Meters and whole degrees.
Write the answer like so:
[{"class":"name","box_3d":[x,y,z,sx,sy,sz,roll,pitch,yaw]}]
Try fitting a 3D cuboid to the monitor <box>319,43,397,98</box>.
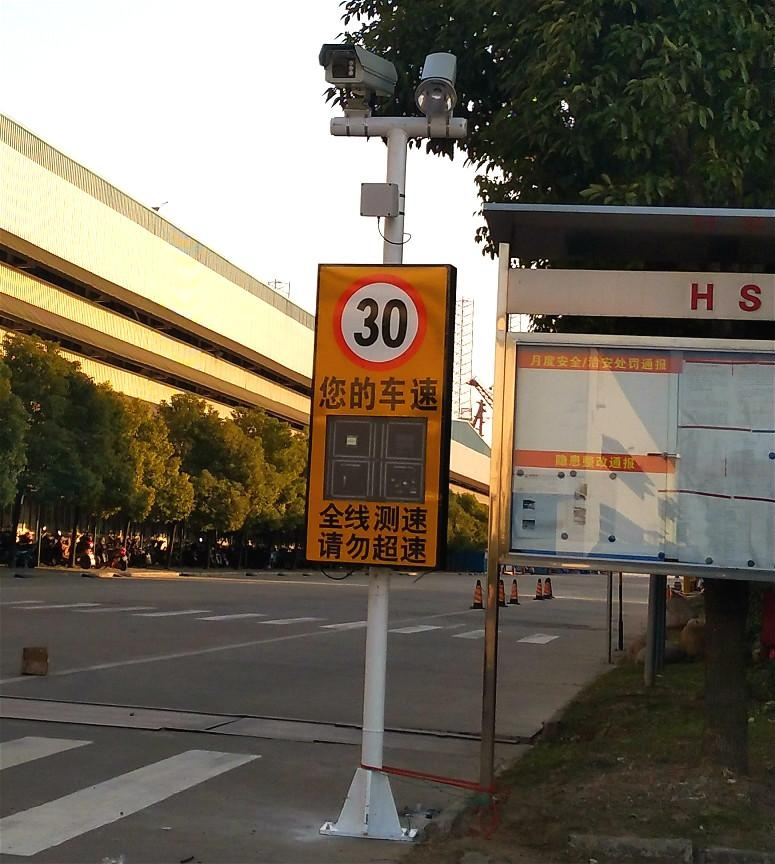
[{"class":"monitor","box_3d":[-0.148,-2.056,5.489,0.451,0.304,0.262,7,-9,-44]}]
